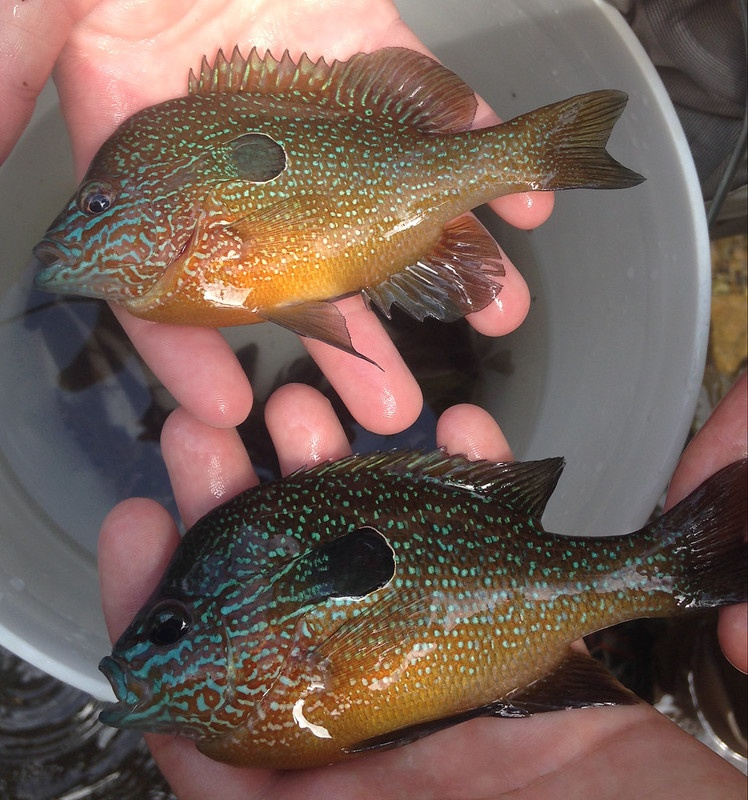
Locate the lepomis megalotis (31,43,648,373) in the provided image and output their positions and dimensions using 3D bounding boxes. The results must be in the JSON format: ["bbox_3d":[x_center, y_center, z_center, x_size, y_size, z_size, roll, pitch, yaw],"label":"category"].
[{"bbox_3d":[-0.083,-0.509,2.072,1.557,0.660,0.359,-13,22,-17],"label":"lepomis megalotis"}]
